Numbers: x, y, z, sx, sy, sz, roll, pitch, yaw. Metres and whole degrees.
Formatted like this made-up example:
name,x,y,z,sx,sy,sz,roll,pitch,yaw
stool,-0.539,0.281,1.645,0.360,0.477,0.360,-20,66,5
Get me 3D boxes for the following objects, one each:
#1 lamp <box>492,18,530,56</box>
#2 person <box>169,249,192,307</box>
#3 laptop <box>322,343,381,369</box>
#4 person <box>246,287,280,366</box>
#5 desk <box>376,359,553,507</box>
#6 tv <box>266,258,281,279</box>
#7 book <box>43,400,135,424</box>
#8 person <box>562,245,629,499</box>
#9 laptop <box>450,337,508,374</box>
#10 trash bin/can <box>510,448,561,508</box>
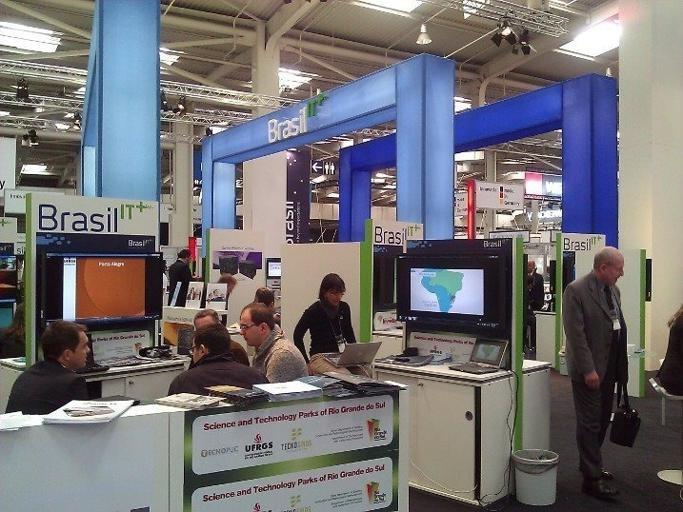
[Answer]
name,x,y,z,sx,sy,sz,roll,pitch,yaw
lamp,2.826,-3.628,9.679,0.565,0.718,1.121,3,7,14
person,-2.232,0.432,8.376,0.295,1.059,0.327,-3,20,-24
laptop,0.129,0.730,4.317,0.334,0.221,0.153,-5,9,-43
person,-0.953,0.943,6.860,0.287,1.003,0.308,16,33,42
desk,1.022,1.159,4.441,1.006,1.045,0.744,0,-1,40
tv,-1.136,0.207,9.945,0.090,0.365,0.393,-3,0,31
book,-1.115,0.683,2.605,0.350,0.044,0.315,0,7,-15
person,1.887,0.826,4.221,0.515,1.766,0.405,0,7,-17
laptop,1.015,0.693,4.229,0.267,0.173,0.259,-2,1,-29
trash bin/can,1.392,1.558,4.151,0.325,0.275,0.337,3,-8,-20
